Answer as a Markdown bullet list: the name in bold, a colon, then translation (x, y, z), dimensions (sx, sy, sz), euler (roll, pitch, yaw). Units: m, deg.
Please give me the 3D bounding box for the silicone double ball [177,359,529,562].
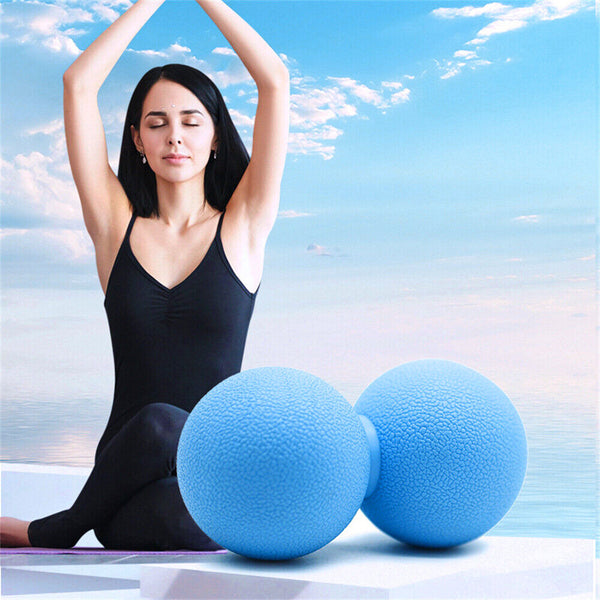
- **silicone double ball**: translation (0.099, 0.263, 1.235), dimensions (0.549, 0.324, 0.210), euler (1, -8, -26)
